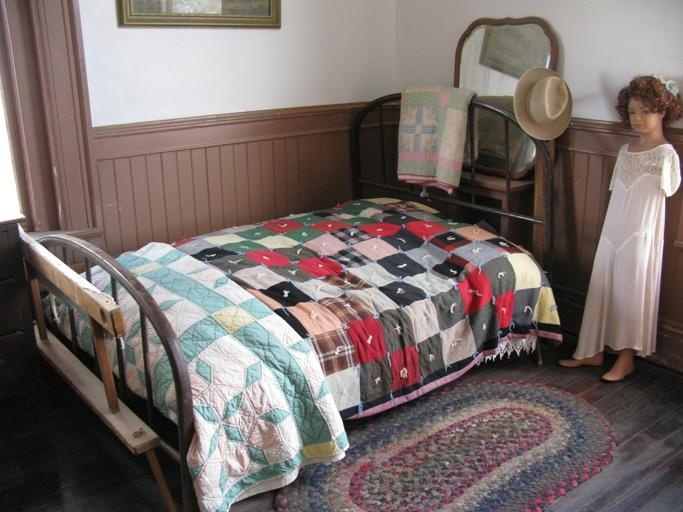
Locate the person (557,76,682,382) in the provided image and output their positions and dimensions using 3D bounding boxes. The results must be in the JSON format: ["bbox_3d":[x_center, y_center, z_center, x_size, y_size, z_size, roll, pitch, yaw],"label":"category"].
[{"bbox_3d":[1.484,-0.104,2.562,0.390,1.479,0.443,11,28,25],"label":"person"}]

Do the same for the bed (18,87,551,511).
[{"bbox_3d":[-0.019,0.114,2.637,2.249,1.285,1.880,-19,33,-34],"label":"bed"}]

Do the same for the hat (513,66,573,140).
[{"bbox_3d":[1.046,-0.796,2.753,0.361,0.362,0.129,-24,20,-29],"label":"hat"}]
